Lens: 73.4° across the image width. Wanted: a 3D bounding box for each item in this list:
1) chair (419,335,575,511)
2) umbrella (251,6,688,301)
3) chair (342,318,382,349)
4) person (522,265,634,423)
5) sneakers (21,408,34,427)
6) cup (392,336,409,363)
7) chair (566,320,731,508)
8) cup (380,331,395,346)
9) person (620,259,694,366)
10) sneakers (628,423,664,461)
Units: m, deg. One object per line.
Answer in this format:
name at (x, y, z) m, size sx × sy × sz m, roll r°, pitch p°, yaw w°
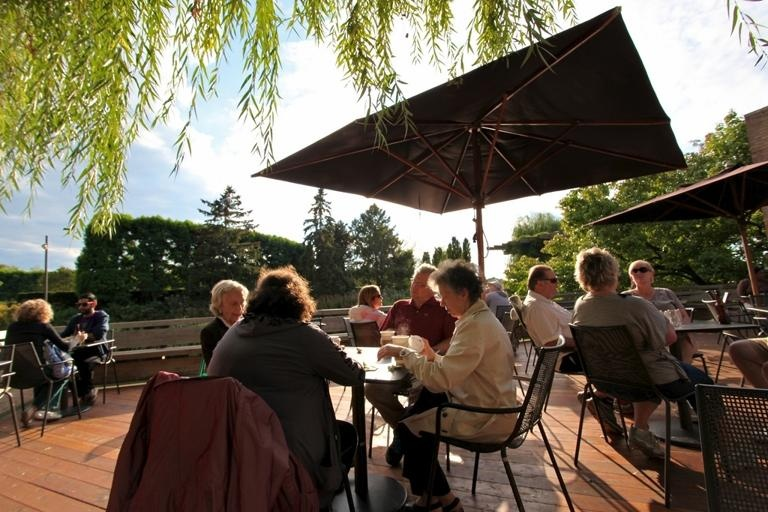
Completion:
chair at (0.839, 1.245, 3.769) m, size 1.132 × 1.271 × 0.782 m, roll 1°, pitch -6°, yaw -4°
umbrella at (1.107, -1.224, 5.079) m, size 2.508 × 1.762 × 2.712 m, roll -3°, pitch -8°, yaw 21°
chair at (-0.211, 0.740, 5.151) m, size 0.264 × 0.438 × 0.297 m, roll 0°, pitch 1°, yaw 28°
person at (1.838, 0.851, 5.093) m, size 0.792 × 1.509 × 0.645 m, roll -6°, pitch 3°, yaw 19°
sneakers at (-4.160, 1.883, 5.994) m, size 0.095 × 0.294 × 0.139 m, roll 3°, pitch 13°, yaw -14°
cup at (0.156, 0.735, 4.030) m, size 0.151 × 0.174 × 0.163 m, roll -2°, pitch -3°, yaw 0°
chair at (2.003, 1.232, 4.251) m, size 0.885 × 1.324 × 0.672 m, roll -3°, pitch -7°, yaw 34°
cup at (0.032, 0.669, 4.263) m, size 0.119 × 0.121 × 0.123 m, roll 0°, pitch 2°, yaw 0°
person at (2.970, 0.554, 5.634) m, size 0.686 × 1.142 × 0.689 m, roll -6°, pitch -27°, yaw 11°
sneakers at (2.205, 1.588, 4.369) m, size 0.392 × 0.209 × 0.146 m, roll 10°, pitch -3°, yaw 14°
